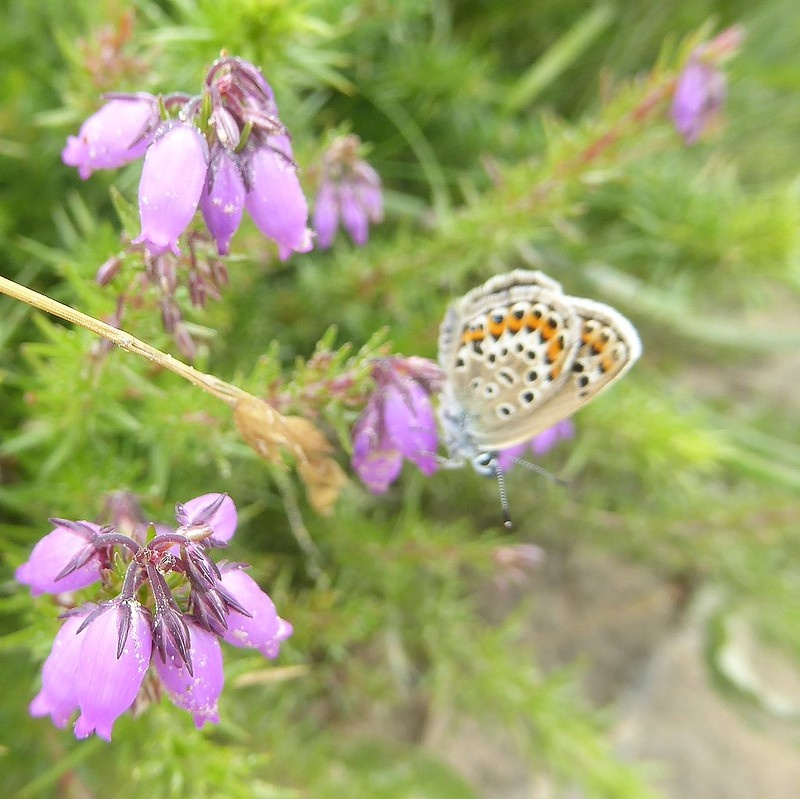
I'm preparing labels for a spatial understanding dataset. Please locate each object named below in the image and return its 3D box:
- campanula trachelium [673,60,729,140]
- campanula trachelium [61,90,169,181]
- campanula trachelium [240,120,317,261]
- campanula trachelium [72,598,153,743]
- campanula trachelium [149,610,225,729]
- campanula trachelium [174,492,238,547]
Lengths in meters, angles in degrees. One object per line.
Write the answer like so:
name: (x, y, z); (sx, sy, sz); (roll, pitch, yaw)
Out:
campanula trachelium: (0.651, -0.674, 1.935); (0.042, 0.136, 0.173); (35, 118, 53)
campanula trachelium: (-0.554, -0.529, 1.714); (0.136, 0.073, 0.206); (42, 73, 6)
campanula trachelium: (-0.267, -0.423, 1.740); (0.107, 0.307, 0.096); (-17, 47, -6)
campanula trachelium: (-0.559, 0.527, 1.646); (0.163, 0.090, 0.254); (-7, 80, 4)
campanula trachelium: (-0.417, 0.528, 1.681); (0.130, 0.066, 0.204); (-9, 94, 2)
campanula trachelium: (-0.402, 0.247, 1.762); (0.101, 0.139, 0.110); (-1, 80, 6)
